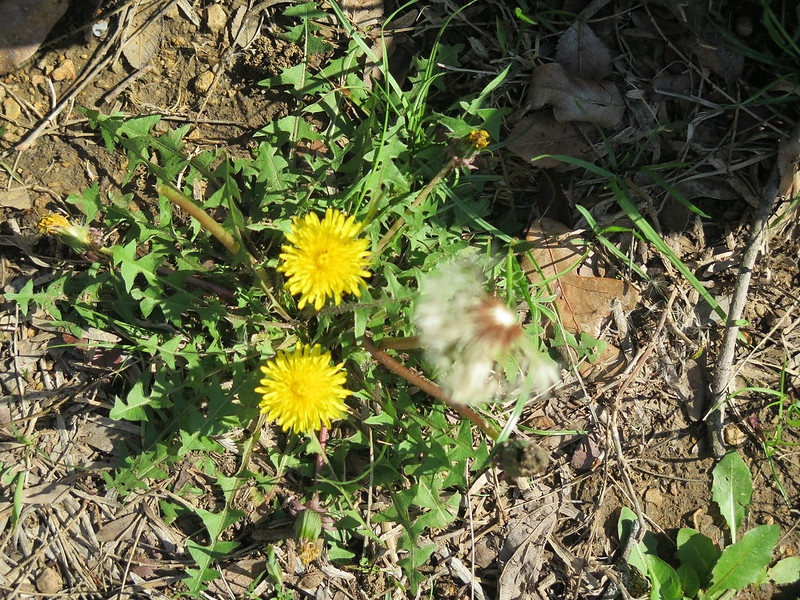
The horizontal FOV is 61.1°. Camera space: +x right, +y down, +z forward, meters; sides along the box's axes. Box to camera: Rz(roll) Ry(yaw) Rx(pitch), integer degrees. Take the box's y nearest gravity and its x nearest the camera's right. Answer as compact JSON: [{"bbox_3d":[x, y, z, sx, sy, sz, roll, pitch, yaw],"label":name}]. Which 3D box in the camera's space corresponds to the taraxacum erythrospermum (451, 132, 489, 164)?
[{"bbox_3d":[0.331,-0.746,3.274,0.178,0.169,0.130,5,39,-7],"label":"taraxacum erythrospermum"}]

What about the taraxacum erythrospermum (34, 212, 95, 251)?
[{"bbox_3d":[-1.687,-0.345,3.468,0.274,0.180,0.125,27,48,18],"label":"taraxacum erythrospermum"}]

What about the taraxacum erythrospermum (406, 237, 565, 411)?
[{"bbox_3d":[0.361,0.197,3.219,0.729,0.373,0.835,-16,48,6],"label":"taraxacum erythrospermum"}]

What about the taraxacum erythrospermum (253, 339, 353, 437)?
[{"bbox_3d":[-0.454,0.434,3.399,0.452,0.225,0.469,40,87,3],"label":"taraxacum erythrospermum"}]

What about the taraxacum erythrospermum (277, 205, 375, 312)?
[{"bbox_3d":[-0.351,-0.164,3.092,0.401,0.468,0.326,1,40,-11],"label":"taraxacum erythrospermum"}]
